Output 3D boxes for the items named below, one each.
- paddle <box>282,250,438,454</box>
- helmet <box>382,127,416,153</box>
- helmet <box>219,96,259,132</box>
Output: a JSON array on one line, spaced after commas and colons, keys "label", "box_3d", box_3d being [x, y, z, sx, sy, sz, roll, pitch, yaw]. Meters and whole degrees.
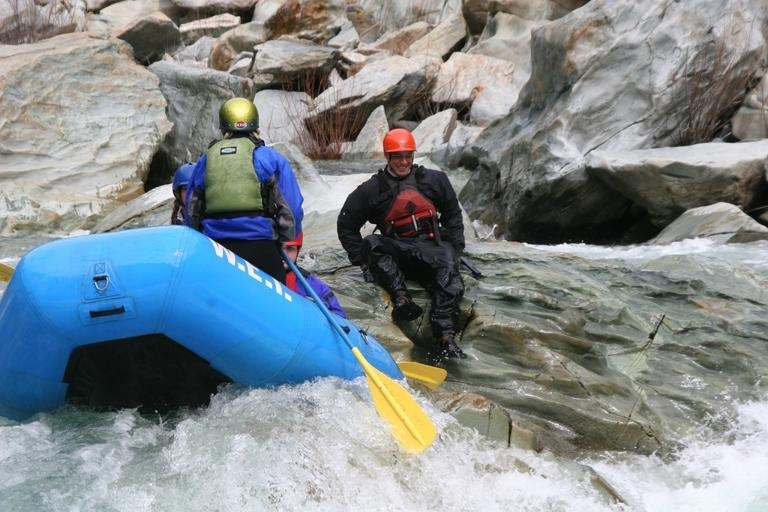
[{"label": "paddle", "box_3d": [-0.375, 0.595, 5.408, 2.384, 0.353, 0.128, 48, 14, 19]}, {"label": "helmet", "box_3d": [0.158, -1.200, 7.215, 0.307, 0.246, 0.367, 10, 36, -3]}, {"label": "helmet", "box_3d": [-1.254, -1.208, 5.917, 0.321, 0.252, 0.282, -3, 12, 5]}]
